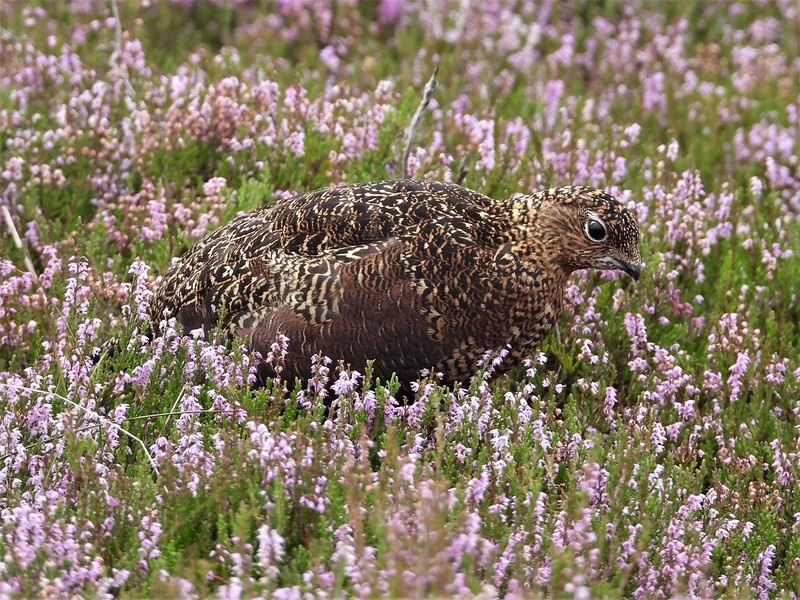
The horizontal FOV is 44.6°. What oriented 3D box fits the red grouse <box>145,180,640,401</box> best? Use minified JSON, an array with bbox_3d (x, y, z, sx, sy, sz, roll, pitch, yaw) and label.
[{"bbox_3d":[0.041,-0.082,5.135,2.059,1.085,1.220,7,100,5],"label":"red grouse"}]
